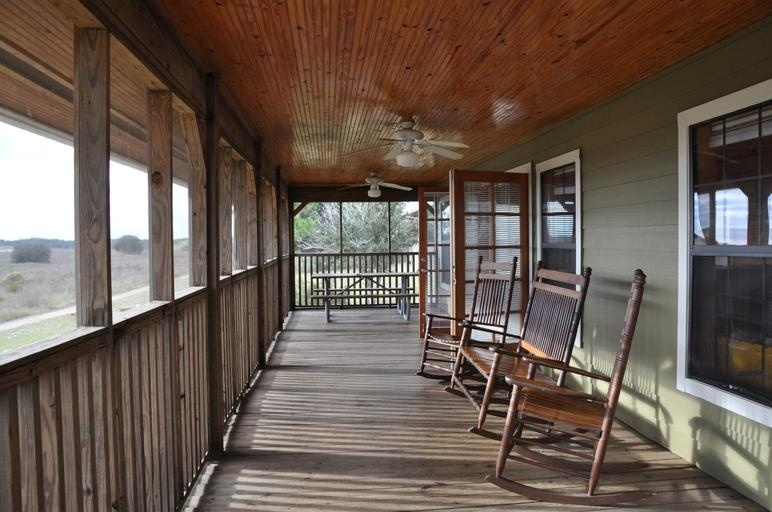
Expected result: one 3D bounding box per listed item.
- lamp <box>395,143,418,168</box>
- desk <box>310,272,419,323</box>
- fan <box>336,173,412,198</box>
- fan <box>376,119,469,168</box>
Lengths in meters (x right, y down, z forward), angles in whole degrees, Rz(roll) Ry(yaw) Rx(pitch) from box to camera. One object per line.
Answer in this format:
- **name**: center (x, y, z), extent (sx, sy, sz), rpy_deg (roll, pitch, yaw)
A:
- **lamp**: center (0.214, -1.004, 4.957), extent (0.236, 0.188, 0.230), rpy_deg (4, 4, 33)
- **desk**: center (-0.399, 0.644, 10.163), extent (1.728, 1.027, 3.597), rpy_deg (-1, 10, -1)
- **fan**: center (-0.141, -1.218, 8.578), extent (0.794, 0.234, 0.737), rpy_deg (0, 1, 17)
- **fan**: center (0.408, -1.153, 5.204), extent (0.750, 0.270, 0.778), rpy_deg (-1, 0, -38)
